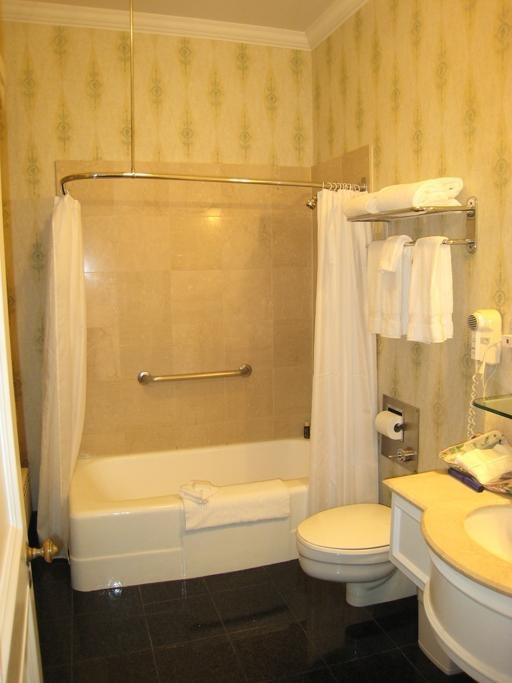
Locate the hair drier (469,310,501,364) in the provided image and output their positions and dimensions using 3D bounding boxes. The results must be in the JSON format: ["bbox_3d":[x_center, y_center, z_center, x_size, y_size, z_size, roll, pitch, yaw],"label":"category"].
[{"bbox_3d":[0.754,-0.025,1.859,0.091,0.198,0.103,-16,24,-21],"label":"hair drier"}]

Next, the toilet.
[{"bbox_3d":[0.396,0.885,2.267,0.403,0.340,0.360,-4,6,-20],"label":"toilet"}]

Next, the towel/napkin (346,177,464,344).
[{"bbox_3d":[0.570,-0.301,2.152,0.296,0.572,0.500,-2,5,-17],"label":"towel/napkin"}]
